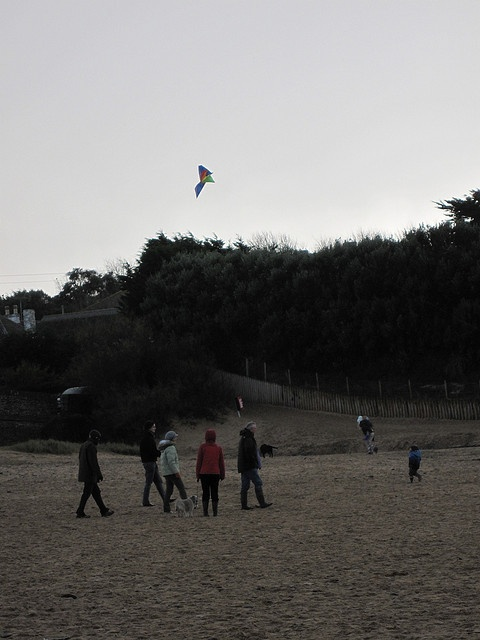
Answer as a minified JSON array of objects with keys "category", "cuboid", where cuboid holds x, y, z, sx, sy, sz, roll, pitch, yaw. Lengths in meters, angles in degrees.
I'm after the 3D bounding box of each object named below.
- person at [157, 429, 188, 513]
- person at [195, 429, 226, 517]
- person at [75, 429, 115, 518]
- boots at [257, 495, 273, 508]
[{"category":"person","cuboid":[-1.143,2.567,12.150,0.457,1.378,1.031,-1,-3,-6]},{"category":"person","cuboid":[-0.501,2.516,11.855,0.426,1.427,1.104,-1,-3,-4]},{"category":"person","cuboid":[-2.481,2.618,12.291,0.557,1.494,1.647,0,-4,-11]},{"category":"boots","cuboid":[0.411,3.016,11.925,0.237,0.241,0.452,-1,-4,2]}]
